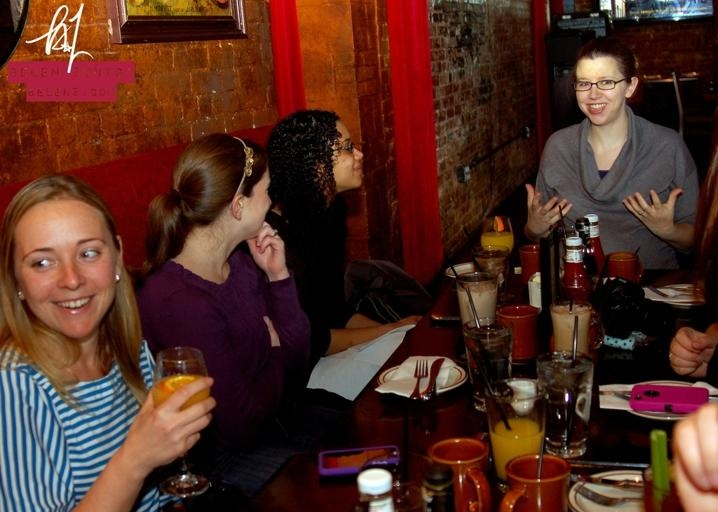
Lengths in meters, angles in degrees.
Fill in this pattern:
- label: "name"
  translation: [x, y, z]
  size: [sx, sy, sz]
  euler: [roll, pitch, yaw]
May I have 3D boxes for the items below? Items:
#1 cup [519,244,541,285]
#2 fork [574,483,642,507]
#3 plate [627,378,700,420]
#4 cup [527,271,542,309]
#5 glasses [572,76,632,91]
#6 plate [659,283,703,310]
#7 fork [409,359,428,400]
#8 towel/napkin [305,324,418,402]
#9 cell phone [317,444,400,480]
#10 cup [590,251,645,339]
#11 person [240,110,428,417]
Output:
- label: "cup"
  translation: [0.653, 0.032, 2.126]
  size: [0.108, 0.136, 0.134]
  euler: [-2, 4, -6]
- label: "fork"
  translation: [0.470, 0.446, 1.025]
  size: [0.121, 0.020, 0.023]
  euler: [1, 26, 18]
- label: "plate"
  translation: [0.719, 0.329, 1.315]
  size: [0.170, 0.048, 0.123]
  euler: [1, 11, 20]
- label: "cup"
  translation: [0.610, 0.113, 1.886]
  size: [0.047, 0.078, 0.050]
  euler: [-1, 8, 0]
- label: "glasses"
  translation: [1.167, -0.821, 2.627]
  size: [0.243, 0.063, 0.130]
  euler: [1, 14, 26]
- label: "plate"
  translation: [1.138, 0.135, 1.913]
  size: [0.075, 0.023, 0.129]
  euler: [-11, 17, -14]
- label: "fork"
  translation: [0.165, 0.325, 1.483]
  size: [0.024, 0.018, 0.150]
  euler: [-3, 29, 14]
- label: "towel/napkin"
  translation: [-0.008, 0.435, 2.200]
  size: [0.353, 0.156, 0.574]
  euler: [-13, 6, 13]
- label: "cell phone"
  translation: [0.000, 0.425, 1.180]
  size: [0.175, 0.104, 0.026]
  euler: [-7, 39, -6]
- label: "cup"
  translation: [0.814, 0.125, 1.731]
  size: [0.135, 0.270, 0.253]
  euler: [8, -15, 4]
- label: "person"
  translation: [-0.059, 0.001, 2.731]
  size: [0.922, 1.393, 0.789]
  euler: [-1, 11, 11]
